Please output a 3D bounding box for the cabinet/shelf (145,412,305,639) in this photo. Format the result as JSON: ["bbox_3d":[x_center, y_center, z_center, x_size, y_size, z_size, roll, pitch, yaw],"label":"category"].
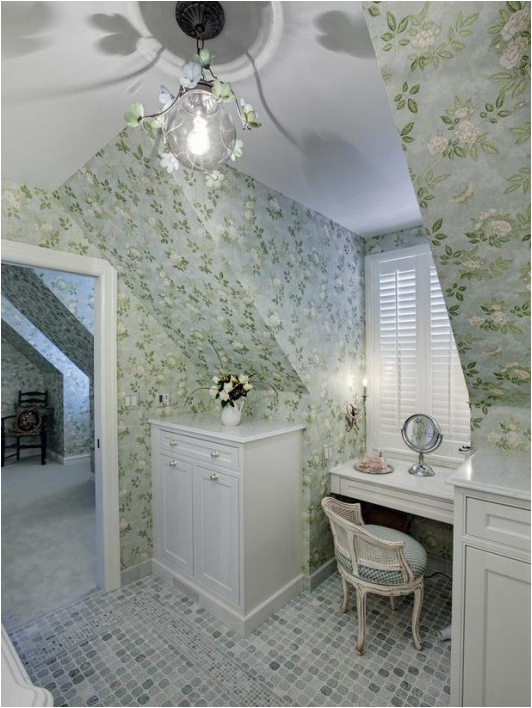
[{"bbox_3d":[-0.225,0.900,2.956,0.843,0.998,0.562,3,5,43],"label":"cabinet/shelf"}]

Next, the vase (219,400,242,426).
[{"bbox_3d":[-0.195,0.347,2.907,0.157,0.154,0.109,7,-11,-26],"label":"vase"}]

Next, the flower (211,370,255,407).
[{"bbox_3d":[-0.195,0.210,2.993,0.253,0.136,0.231,1,-19,4],"label":"flower"}]

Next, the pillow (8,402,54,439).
[{"bbox_3d":[-2.877,0.831,6.149,0.502,0.363,0.559,-1,4,-25],"label":"pillow"}]
